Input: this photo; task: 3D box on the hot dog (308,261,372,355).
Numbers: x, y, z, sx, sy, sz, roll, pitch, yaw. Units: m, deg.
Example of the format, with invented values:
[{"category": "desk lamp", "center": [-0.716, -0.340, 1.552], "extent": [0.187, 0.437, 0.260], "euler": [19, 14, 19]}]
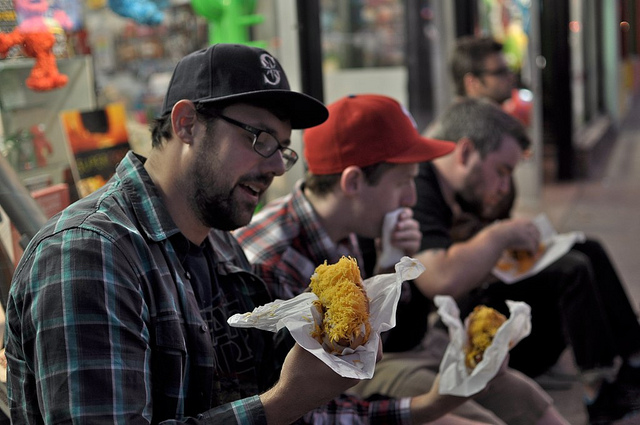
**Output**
[{"category": "hot dog", "center": [0.081, 0.338, 2.379], "extent": [0.241, 0.171, 0.391], "euler": [-7, 38, -7]}]

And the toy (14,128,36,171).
[{"category": "toy", "center": [-1.561, -0.336, 3.311], "extent": [0.045, 0.215, 0.148], "euler": [-5, 10, 9]}]

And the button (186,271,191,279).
[{"category": "button", "center": [-0.545, 0.258, 2.583], "extent": [0.012, 0.028, 0.031], "euler": [-7, 10, -3]}]

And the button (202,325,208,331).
[{"category": "button", "center": [-0.460, 0.462, 2.501], "extent": [0.015, 0.020, 0.022], "euler": [3, 16, 16]}]

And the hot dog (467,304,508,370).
[{"category": "hot dog", "center": [0.733, 0.548, 2.752], "extent": [0.067, 0.252, 0.172], "euler": [12, 1, -35]}]
